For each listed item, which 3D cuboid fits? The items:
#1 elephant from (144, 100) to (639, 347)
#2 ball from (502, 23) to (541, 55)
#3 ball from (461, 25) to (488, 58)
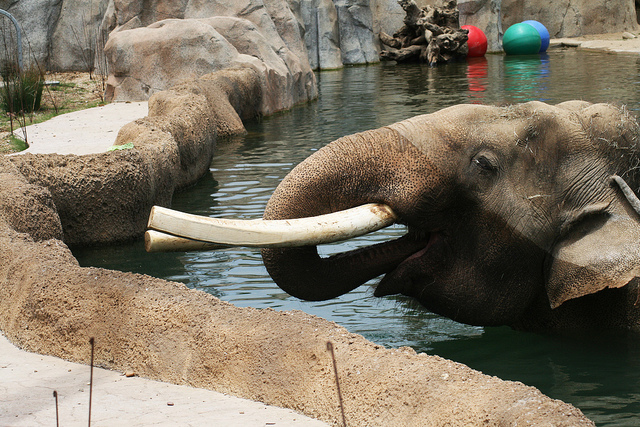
[{"bbox_3d":[0.588,0.113,11.144,4.450,2.052,2.124,0,-2,-8],"label":"elephant"},{"bbox_3d":[5.465,-4.647,31.459,0.950,0.904,0.889,-16,43,15],"label":"ball"},{"bbox_3d":[4.357,-4.768,32.241,0.523,0.874,0.902,-1,16,12],"label":"ball"}]
